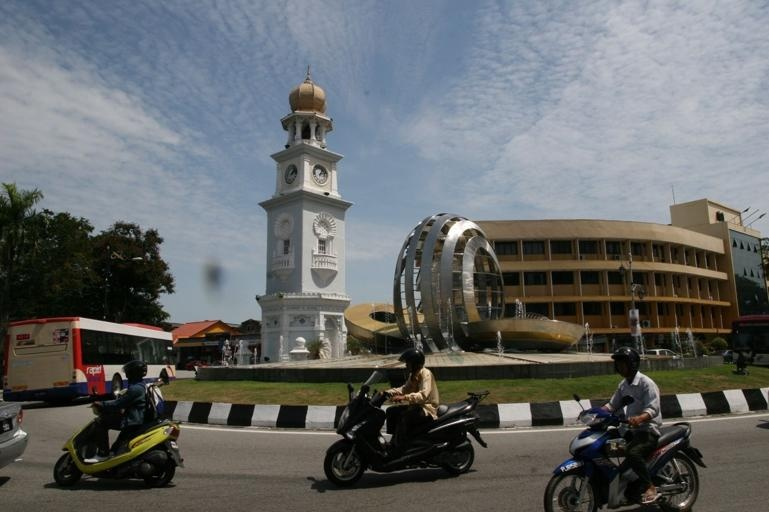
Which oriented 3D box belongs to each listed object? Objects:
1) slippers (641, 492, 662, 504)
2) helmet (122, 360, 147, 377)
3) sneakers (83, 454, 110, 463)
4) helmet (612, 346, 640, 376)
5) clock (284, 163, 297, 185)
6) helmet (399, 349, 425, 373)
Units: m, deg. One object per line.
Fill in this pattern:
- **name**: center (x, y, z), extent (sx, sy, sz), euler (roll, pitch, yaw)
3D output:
- **slippers**: center (4.656, 4.263, 10.422), extent (0.426, 0.179, 0.106), euler (2, -11, -21)
- **helmet**: center (-5.289, 2.326, 12.283), extent (0.482, 0.377, 0.373), euler (10, 0, 38)
- **sneakers**: center (-5.738, 4.077, 11.831), extent (0.489, 0.122, 0.172), euler (-1, -9, -3)
- **helmet**: center (4.374, 1.939, 10.797), extent (0.682, 0.518, 0.456), euler (4, -13, -5)
- **clock**: center (-7.686, -6.645, 48.371), extent (1.522, 1.690, 0.069), euler (-11, -14, 44)
- **helmet**: center (0.589, 2.170, 12.346), extent (0.618, 0.404, 0.439), euler (-4, -14, 10)
